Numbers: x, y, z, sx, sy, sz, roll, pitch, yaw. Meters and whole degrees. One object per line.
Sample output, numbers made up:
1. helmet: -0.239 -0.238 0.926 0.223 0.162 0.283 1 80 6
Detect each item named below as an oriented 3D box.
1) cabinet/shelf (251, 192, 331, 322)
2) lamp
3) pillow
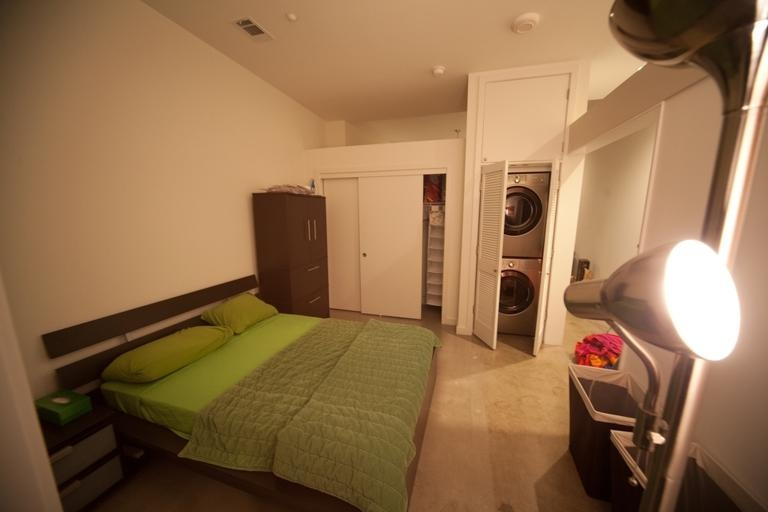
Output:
1. cabinet/shelf: -1.005 0.005 4.973 0.489 1.852 1.069 2 12 16
2. lamp: 1.398 0.522 2.624 0.582 1.228 0.731 -16 14 -37
3. pillow: -1.591 0.607 3.994 0.488 0.169 0.973 9 19 23
